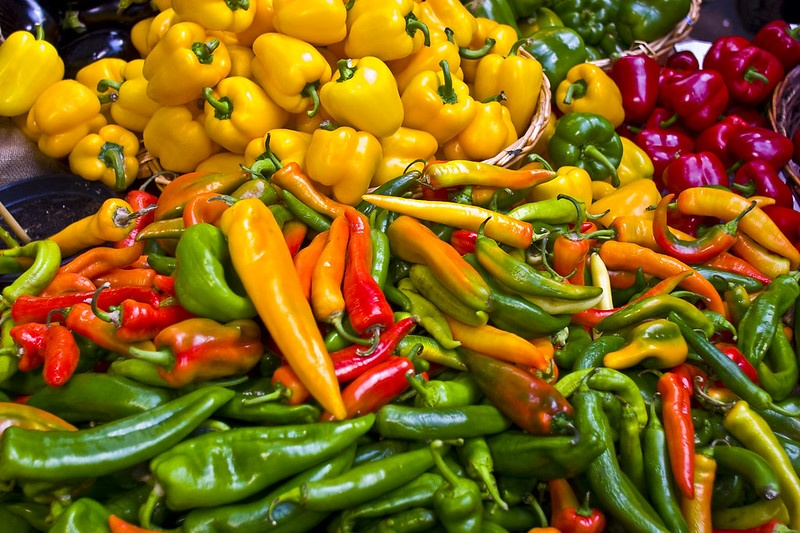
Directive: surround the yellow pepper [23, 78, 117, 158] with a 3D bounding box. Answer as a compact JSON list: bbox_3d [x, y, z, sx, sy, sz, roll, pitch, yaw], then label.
[{"bbox_3d":[-2.639,-1.170,5.748,0.320,0.347,0.491,-27,11,45],"label":"yellow pepper"}]
